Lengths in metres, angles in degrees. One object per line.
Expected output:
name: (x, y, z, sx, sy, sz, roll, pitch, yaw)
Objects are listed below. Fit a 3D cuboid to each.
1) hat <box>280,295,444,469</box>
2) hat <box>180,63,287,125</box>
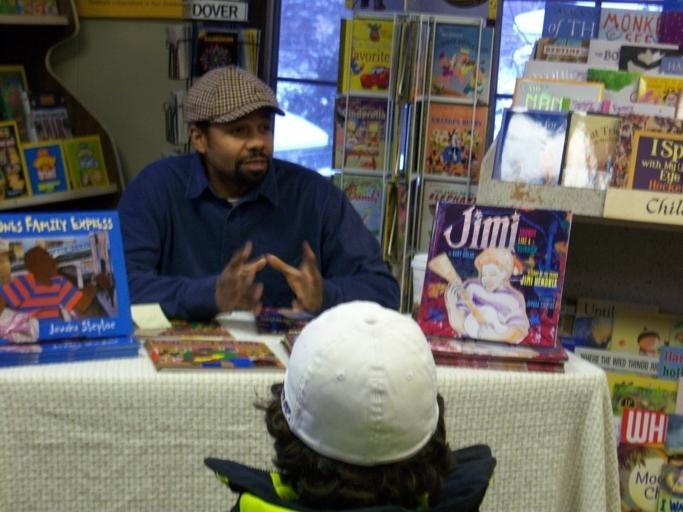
hat: (0.035, 0.255, 1.277, 0.221, 0.186, 0.317, 1, 27, -1)
hat: (-0.408, -0.564, 2.256, 0.272, 0.144, 0.204, 3, 16, 33)
